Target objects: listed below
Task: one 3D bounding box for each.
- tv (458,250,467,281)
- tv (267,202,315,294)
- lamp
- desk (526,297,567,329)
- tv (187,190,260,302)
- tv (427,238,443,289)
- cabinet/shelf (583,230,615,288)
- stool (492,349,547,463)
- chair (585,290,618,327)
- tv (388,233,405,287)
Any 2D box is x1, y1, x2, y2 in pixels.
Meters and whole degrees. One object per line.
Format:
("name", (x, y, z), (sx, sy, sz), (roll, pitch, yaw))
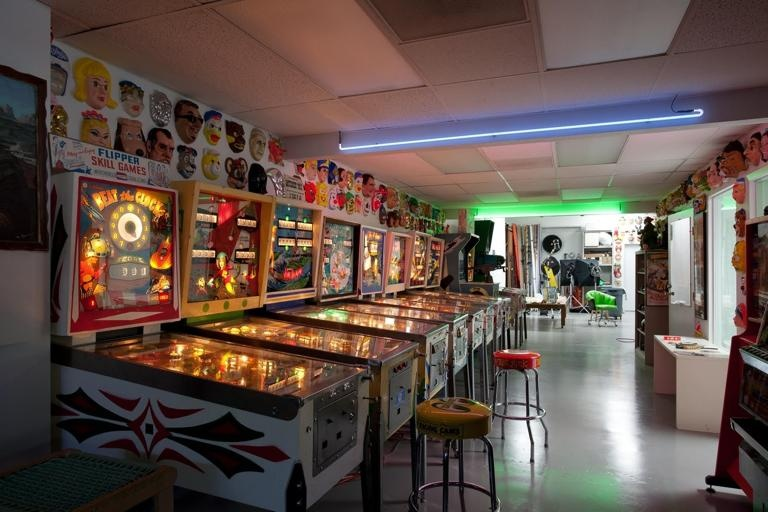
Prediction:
("tv", (1.263, 0.157, 7.953), (0.055, 0.472, 0.485), (0, -2, 19))
("tv", (-0.800, -0.072, 4.112), (0.095, 0.892, 0.791), (2, 0, 26))
("lamp", (1.103, -1.128, 4.341), (2.968, 0.268, 0.064), (1, -2, 18))
("desk", (3.620, 1.389, 10.915), (0.672, 0.472, 0.980), (0, 0, 21))
("tv", (-1.160, -0.060, 3.657), (0.065, 0.772, 0.571), (-1, -3, 39))
("tv", (0.751, 0.089, 7.205), (0.145, 0.708, 0.708), (1, -2, 15))
("cabinet/shelf", (6.115, 0.009, 14.030), (0.824, 1.673, 0.525), (2, 25, 34))
("stool", (1.257, 1.386, 4.728), (0.726, 0.900, 0.709), (1, -6, -1))
("chair", (5.126, 1.225, 11.692), (0.740, 0.759, 0.697), (2, -6, -30))
("tv", (0.133, 0.044, 5.799), (0.099, 0.717, 0.622), (1, -3, 20))
